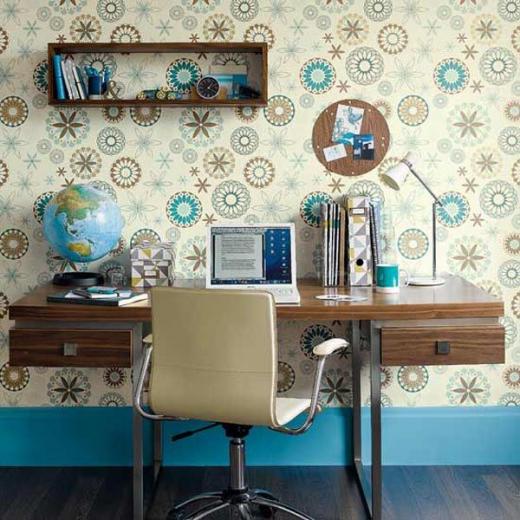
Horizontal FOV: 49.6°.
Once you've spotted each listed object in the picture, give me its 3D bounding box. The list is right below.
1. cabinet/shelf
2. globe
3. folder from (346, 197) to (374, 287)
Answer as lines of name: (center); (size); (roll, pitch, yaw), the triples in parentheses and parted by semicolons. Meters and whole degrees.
cabinet/shelf: (-0.441, -0.795, 2.397); (0.952, 0.302, 0.179); (-2, 9, 1)
globe: (-0.724, -0.147, 2.283); (0.306, 0.311, 0.120); (-6, 10, -21)
folder: (0.489, -0.069, 2.436); (0.119, 0.374, 0.264); (-2, -1, 32)
